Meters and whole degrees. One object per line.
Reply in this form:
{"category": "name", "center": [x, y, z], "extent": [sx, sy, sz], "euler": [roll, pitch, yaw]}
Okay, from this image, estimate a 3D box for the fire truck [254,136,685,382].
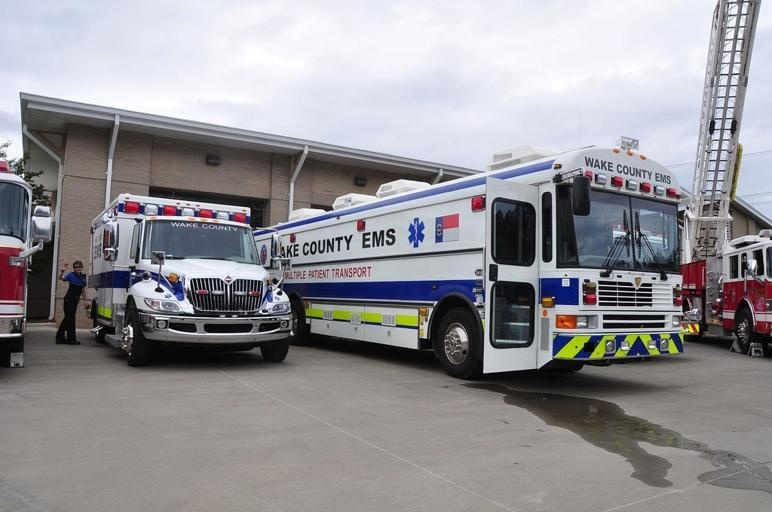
{"category": "fire truck", "center": [0.767, 0.140, 13.940], "extent": [11.277, 4.859, 3.784], "euler": [2, 1, 45]}
